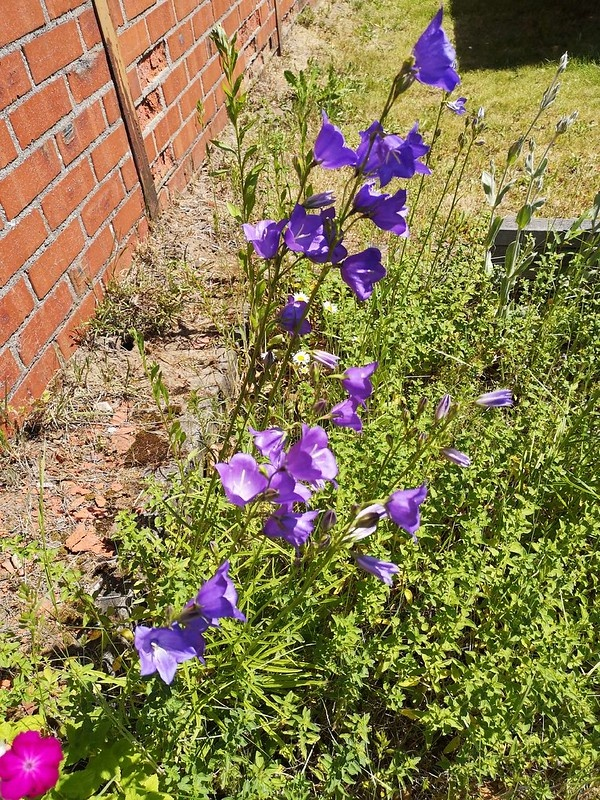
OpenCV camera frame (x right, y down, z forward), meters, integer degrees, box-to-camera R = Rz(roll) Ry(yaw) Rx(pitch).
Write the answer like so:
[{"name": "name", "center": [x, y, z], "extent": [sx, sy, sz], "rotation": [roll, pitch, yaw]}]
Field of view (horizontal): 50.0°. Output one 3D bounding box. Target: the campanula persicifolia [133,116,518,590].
[{"name": "campanula persicifolia", "center": [-0.115, 0.213, 1.451], "extent": [0.498, 1.554, 0.659], "rotation": [22, 27, 16]}]

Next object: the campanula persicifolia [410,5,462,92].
[{"name": "campanula persicifolia", "center": [0.254, -0.637, 1.184], "extent": [0.092, 0.144, 0.233], "rotation": [12, 33, 8]}]
